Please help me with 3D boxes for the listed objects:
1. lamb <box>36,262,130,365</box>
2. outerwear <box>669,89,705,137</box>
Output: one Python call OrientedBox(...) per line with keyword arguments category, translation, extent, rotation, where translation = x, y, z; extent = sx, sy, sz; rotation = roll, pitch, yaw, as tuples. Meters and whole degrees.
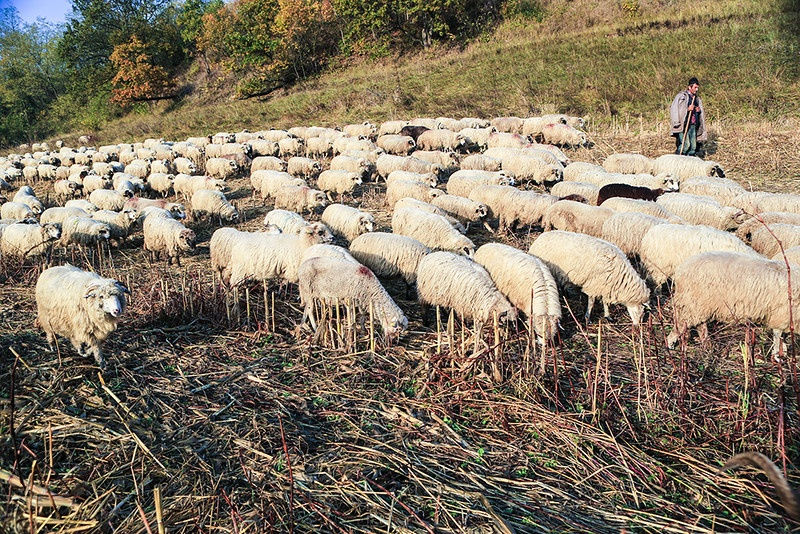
OrientedBox(category="lamb", translation=(-7.426, 1.131, 15.766), extent=(2.151, 2.157, 1.106), rotation=(0, 18, 23))
OrientedBox(category="outerwear", translation=(10.308, -5.476, 24.322), extent=(0.860, 1.812, 0.996), rotation=(-14, 17, -17))
